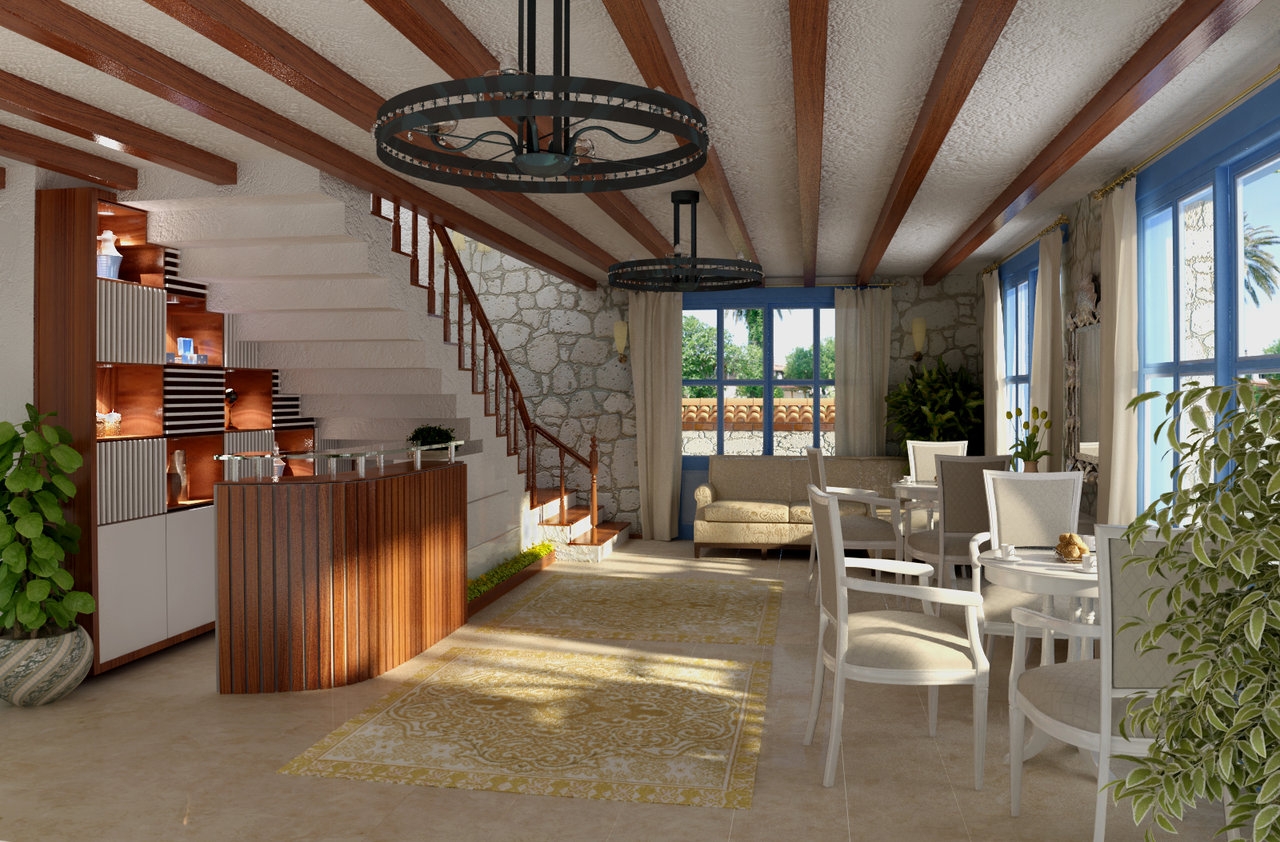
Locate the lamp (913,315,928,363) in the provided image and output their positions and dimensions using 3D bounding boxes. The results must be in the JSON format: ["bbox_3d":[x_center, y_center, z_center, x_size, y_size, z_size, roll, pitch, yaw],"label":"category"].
[{"bbox_3d":[3.313,-0.959,9.696,0.159,0.521,0.296,3,7,25],"label":"lamp"}]

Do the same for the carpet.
[{"bbox_3d":[-0.340,1.717,5.575,2.448,0.082,3.192,1,6,10],"label":"carpet"}]

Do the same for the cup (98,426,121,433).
[{"bbox_3d":[-3.797,0.074,5.813,0.116,0.079,0.156,-4,7,-31],"label":"cup"}]

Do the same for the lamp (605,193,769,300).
[{"bbox_3d":[0.475,-1.503,6.970,1.202,0.741,1.394,3,6,26],"label":"lamp"}]

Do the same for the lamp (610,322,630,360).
[{"bbox_3d":[-0.253,-0.988,10.062,0.196,0.465,0.224,-1,7,-6],"label":"lamp"}]

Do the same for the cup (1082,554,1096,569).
[{"bbox_3d":[2.292,0.725,4.153,0.055,0.050,0.071,2,6,34],"label":"cup"}]
